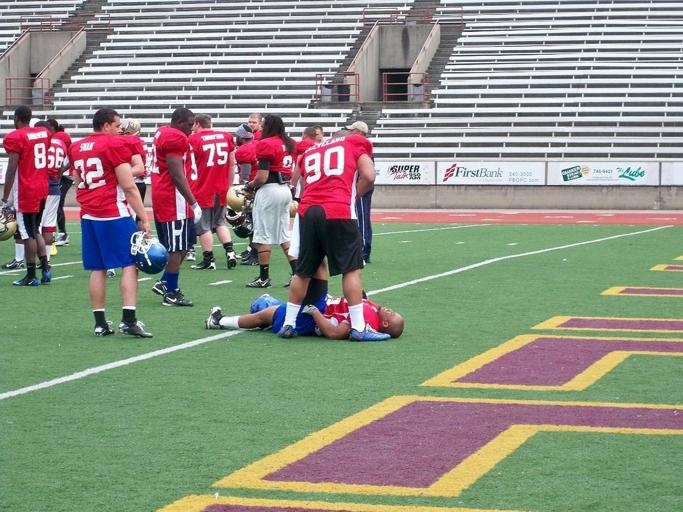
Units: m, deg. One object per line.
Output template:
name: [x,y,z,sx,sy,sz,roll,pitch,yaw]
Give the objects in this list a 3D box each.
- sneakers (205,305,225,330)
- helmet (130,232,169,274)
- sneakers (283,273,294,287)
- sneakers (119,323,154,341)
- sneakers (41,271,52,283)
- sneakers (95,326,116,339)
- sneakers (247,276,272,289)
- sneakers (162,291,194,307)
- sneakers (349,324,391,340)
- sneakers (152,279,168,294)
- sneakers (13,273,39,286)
sneakers: [-1.168,0.597,10.302,0.100,0.113,0.268,9,20,-1]
helmet: [-1.718,-0.017,10.119,0.384,0.286,0.332,35,6,2]
sneakers: [-0.594,0.283,12.333,0.192,0.081,0.265,-4,9,4]
sneakers: [-1.840,0.672,10.083,0.357,0.142,0.122,13,6,-11]
sneakers: [-3.445,0.265,13.271,0.191,0.163,0.111,-1,1,-7]
sneakers: [-2.136,0.693,10.102,0.078,0.072,0.184,3,5,15]
sneakers: [-0.931,0.345,12.799,0.321,0.117,0.101,1,0,6]
sneakers: [-1.706,0.456,11.532,0.375,0.146,0.127,2,4,9]
sneakers: [0.233,0.703,9.950,0.394,0.135,0.119,0,-4,-12]
sneakers: [-1.922,0.371,11.939,0.143,0.094,0.275,-18,18,-14]
sneakers: [-3.637,0.306,12.985,0.293,0.106,0.125,2,-1,-1]
